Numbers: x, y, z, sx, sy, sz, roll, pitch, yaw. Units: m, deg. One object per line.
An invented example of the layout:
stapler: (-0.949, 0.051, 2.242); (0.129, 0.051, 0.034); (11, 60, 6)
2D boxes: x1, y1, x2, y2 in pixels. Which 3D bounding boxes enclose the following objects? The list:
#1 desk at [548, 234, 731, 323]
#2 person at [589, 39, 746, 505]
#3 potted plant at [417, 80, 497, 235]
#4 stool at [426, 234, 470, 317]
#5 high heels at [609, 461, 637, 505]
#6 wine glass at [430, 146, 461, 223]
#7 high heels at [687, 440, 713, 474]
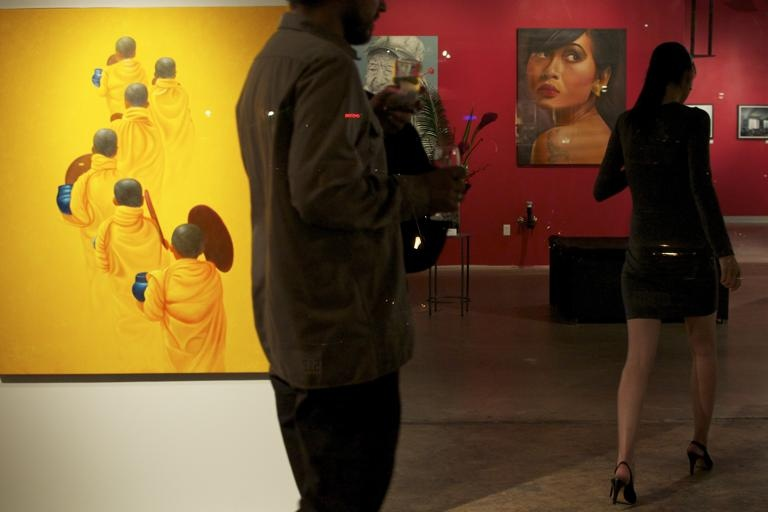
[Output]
desk: (1.915, 0.165, 6.985); (1.167, 0.775, 0.849); (0, 5, 4)
person: (1.303, 0.095, 3.711); (0.567, 2.100, 0.290); (-3, 11, -11)
potted plant: (0.229, -0.348, 2.743); (0.328, 0.388, 0.271); (-14, 20, -1)
stool: (0.621, 0.173, 7.892); (0.507, 0.793, 0.501); (-2, -4, 10)
high heels: (1.108, 1.065, 3.741); (0.090, 0.115, 0.269); (-2, 1, 11)
wine glass: (0.204, -0.235, 2.657); (0.094, 0.254, 0.050); (-1, 11, 0)
high heels: (1.559, 1.001, 4.005); (0.075, 0.110, 0.231); (-1, 4, 28)
